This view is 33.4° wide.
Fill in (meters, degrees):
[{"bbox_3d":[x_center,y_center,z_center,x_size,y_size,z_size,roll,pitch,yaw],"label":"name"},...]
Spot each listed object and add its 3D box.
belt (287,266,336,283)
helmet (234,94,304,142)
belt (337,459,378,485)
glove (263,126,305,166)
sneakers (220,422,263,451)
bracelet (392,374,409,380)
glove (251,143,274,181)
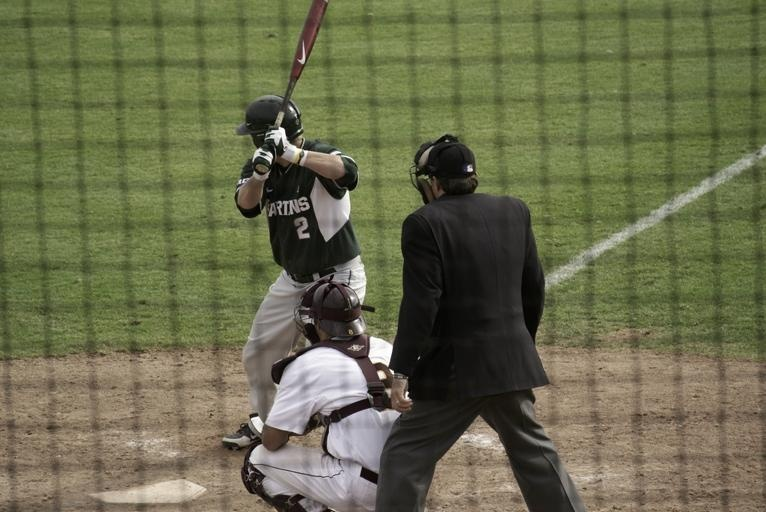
[{"bbox_3d":[-0.674,0.226,12.766,0.311,0.065,0.195,-11,42,2],"label":"belt"},{"bbox_3d":[-1.114,-1.376,12.829,0.681,0.353,0.416,-2,29,3],"label":"helmet"},{"bbox_3d":[-0.205,2.021,11.680,0.242,0.159,0.199,28,0,-9],"label":"belt"},{"bbox_3d":[-0.963,-1.082,12.538,0.446,0.173,0.305,26,26,-7],"label":"glove"},{"bbox_3d":[-1.424,1.866,12.913,0.557,0.225,0.181,-1,4,-4],"label":"sneakers"},{"bbox_3d":[0.166,1.106,11.536,0.088,0.031,0.067,-6,-13,32],"label":"bracelet"},{"bbox_3d":[-1.166,-0.920,12.434,0.232,0.304,0.137,3,-8,2],"label":"glove"}]
